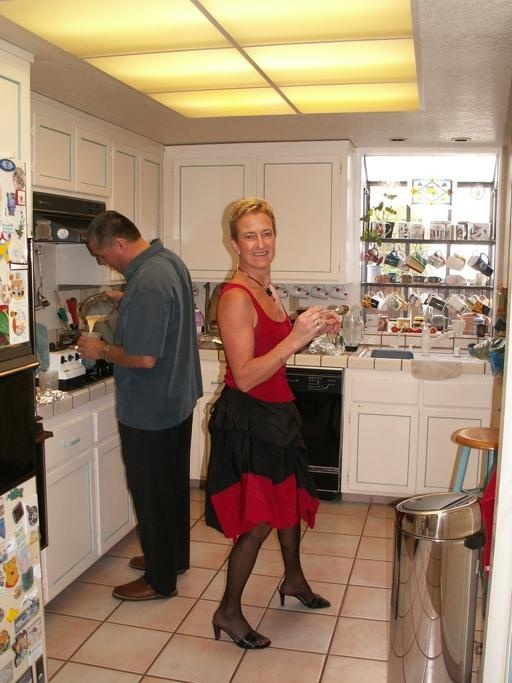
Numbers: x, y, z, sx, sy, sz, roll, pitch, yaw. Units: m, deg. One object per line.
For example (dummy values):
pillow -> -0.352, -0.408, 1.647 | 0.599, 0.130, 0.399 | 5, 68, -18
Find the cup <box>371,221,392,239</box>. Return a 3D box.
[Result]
cup -> 0.894, -0.791, 3.783 | 0.162, 0.134, 0.101 | 2, 3, -1

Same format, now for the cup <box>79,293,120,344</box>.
cup -> -0.820, -0.113, 2.780 | 0.205, 0.230, 0.201 | 15, -4, 1

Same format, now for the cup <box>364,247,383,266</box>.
cup -> 0.851, -0.612, 3.842 | 0.097, 0.095, 0.073 | 24, 51, 12

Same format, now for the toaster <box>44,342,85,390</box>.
toaster -> -0.823, 0.132, 2.268 | 0.102, 0.159, 0.186 | -4, 4, 5

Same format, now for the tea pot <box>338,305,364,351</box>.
tea pot -> 0.639, -0.096, 3.647 | 0.169, 0.304, 0.147 | -1, 9, 1

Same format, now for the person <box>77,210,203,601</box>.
person -> -0.481, 0.284, 2.190 | 0.407, 1.588, 0.520 | 1, 2, 9

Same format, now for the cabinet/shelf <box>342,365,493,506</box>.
cabinet/shelf -> 0.986, 0.530, 3.293 | 0.891, 0.810, 0.326 | 1, 14, 11

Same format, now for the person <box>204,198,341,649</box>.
person -> 0.099, 0.300, 1.878 | 0.533, 1.482, 0.527 | 0, 4, 31

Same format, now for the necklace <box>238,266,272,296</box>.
necklace -> 0.005, -0.198, 1.751 | 0.188, 0.015, 0.051 | 36, 24, -27

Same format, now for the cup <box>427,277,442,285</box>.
cup -> 1.234, -0.422, 3.697 | 0.098, 0.067, 0.056 | 3, 17, 14

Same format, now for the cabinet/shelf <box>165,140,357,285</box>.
cabinet/shelf -> 0.047, -0.811, 3.204 | 1.146, 0.939, 0.378 | 0, 2, 10

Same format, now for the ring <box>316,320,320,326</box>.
ring -> 0.168, -0.050, 1.455 | 0.011, 0.018, 0.020 | 0, 4, 7

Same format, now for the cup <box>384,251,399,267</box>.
cup -> 0.965, -0.587, 3.780 | 0.121, 0.122, 0.079 | 17, 20, 7

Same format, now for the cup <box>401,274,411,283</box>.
cup -> 1.054, -0.436, 3.728 | 0.062, 0.056, 0.061 | 0, -2, 0

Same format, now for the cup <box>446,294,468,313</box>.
cup -> 1.372, -0.255, 3.631 | 0.138, 0.123, 0.076 | 1, 2, 7

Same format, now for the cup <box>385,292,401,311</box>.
cup -> 0.974, -0.277, 3.826 | 0.098, 0.119, 0.114 | 20, -15, -11

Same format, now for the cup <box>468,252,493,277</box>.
cup -> 1.533, -0.515, 3.604 | 0.175, 0.161, 0.077 | 0, 2, -19

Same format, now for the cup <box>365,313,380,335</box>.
cup -> 0.830, -0.123, 3.812 | 0.143, 0.141, 0.089 | -3, 5, 0

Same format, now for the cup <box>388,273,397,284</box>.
cup -> 0.977, -0.451, 3.814 | 0.071, 0.067, 0.123 | 0, 1, 2

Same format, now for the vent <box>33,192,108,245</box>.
vent -> -0.869, -0.548, 2.388 | 0.561, 0.185, 0.164 | 15, 28, 34

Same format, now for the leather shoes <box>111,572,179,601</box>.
leather shoes -> -0.467, 1.033, 2.267 | 0.277, 0.111, 0.101 | 4, -6, -5

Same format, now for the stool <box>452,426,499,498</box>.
stool -> 0.833, 0.477, 2.026 | 0.219, 0.212, 0.209 | 1, -2, 37

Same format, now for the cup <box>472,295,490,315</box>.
cup -> 1.526, -0.241, 3.606 | 0.115, 0.133, 0.111 | 1, 2, 0

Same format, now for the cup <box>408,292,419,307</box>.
cup -> 1.124, -0.294, 3.794 | 0.075, 0.079, 0.062 | -2, 5, 20

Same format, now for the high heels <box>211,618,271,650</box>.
high heels -> -0.060, 1.030, 1.882 | 0.215, 0.064, 0.083 | -1, -5, 13

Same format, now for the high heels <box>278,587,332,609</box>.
high heels -> 0.197, 1.045, 2.149 | 0.205, 0.069, 0.082 | 1, -3, 1

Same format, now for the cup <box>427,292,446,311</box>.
cup -> 1.252, -0.271, 3.692 | 0.130, 0.111, 0.078 | 1, 2, 4

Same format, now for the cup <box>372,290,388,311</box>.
cup -> 0.883, -0.301, 3.818 | 0.096, 0.137, 0.134 | -6, 26, -23
